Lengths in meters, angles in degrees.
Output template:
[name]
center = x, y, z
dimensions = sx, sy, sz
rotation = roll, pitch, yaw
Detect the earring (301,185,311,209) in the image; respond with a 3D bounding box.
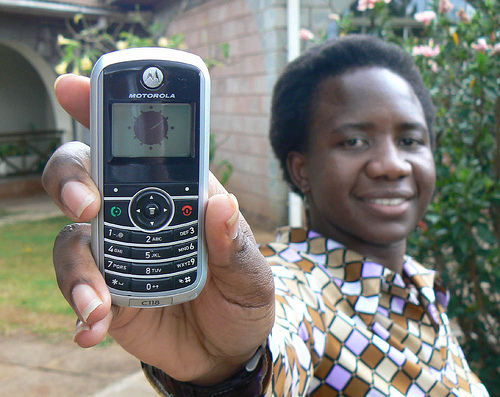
[earring]
center = 0.199, 0.001, 1.935
dimensions = 0.014, 0.063, 0.062
rotation = -10, 12, -7
